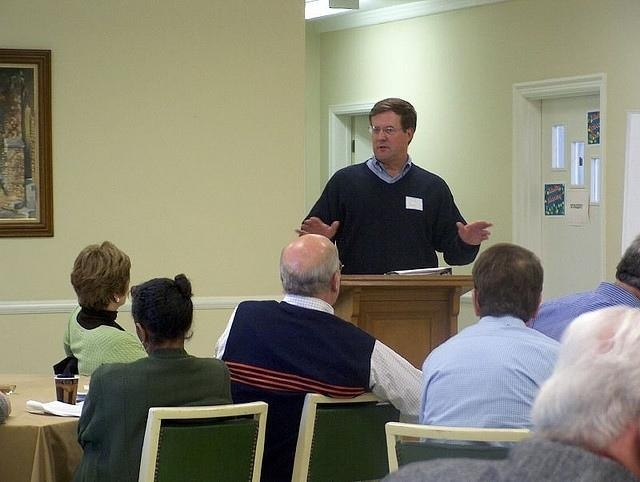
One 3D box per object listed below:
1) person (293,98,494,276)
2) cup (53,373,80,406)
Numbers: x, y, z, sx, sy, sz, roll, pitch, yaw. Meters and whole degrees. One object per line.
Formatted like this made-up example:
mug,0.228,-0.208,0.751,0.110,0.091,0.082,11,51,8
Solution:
person,0.407,-0.084,3.529,0.988,1.395,0.622,3,-3,0
cup,-0.991,0.586,2.491,0.098,0.109,0.102,2,-1,0
